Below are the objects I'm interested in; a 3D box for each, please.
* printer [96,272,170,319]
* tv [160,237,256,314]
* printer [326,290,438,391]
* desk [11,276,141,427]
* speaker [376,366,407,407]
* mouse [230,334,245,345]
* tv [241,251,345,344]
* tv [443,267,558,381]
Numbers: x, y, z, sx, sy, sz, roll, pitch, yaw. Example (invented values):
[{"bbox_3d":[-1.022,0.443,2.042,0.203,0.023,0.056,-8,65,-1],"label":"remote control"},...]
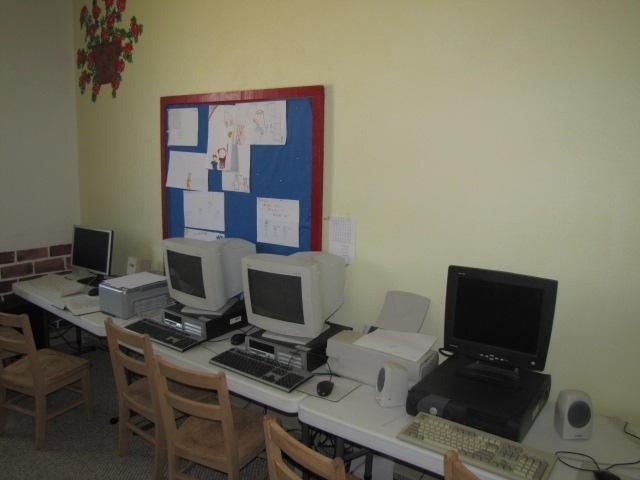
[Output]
[{"bbox_3d":[-1.327,0.290,3.407,0.306,0.230,0.413,8,12,40],"label":"printer"},{"bbox_3d":[-0.730,0.192,3.309,0.500,0.400,0.500,4,11,41],"label":"tv"},{"bbox_3d":[0.371,0.548,2.646,0.516,0.354,0.506,7,14,37],"label":"printer"},{"bbox_3d":[-1.856,0.919,3.725,1.143,0.351,0.519,14,18,35],"label":"desk"},{"bbox_3d":[0.333,0.717,2.474,0.191,0.214,0.156,2,7,3],"label":"speaker"},{"bbox_3d":[-0.503,0.594,2.947,0.063,0.047,0.065,-19,13,-6],"label":"mouse"},{"bbox_3d":[-0.125,0.270,2.976,0.499,0.462,0.503,4,12,36],"label":"tv"},{"bbox_3d":[0.888,0.418,2.424,0.486,0.481,0.266,6,15,32],"label":"tv"}]
